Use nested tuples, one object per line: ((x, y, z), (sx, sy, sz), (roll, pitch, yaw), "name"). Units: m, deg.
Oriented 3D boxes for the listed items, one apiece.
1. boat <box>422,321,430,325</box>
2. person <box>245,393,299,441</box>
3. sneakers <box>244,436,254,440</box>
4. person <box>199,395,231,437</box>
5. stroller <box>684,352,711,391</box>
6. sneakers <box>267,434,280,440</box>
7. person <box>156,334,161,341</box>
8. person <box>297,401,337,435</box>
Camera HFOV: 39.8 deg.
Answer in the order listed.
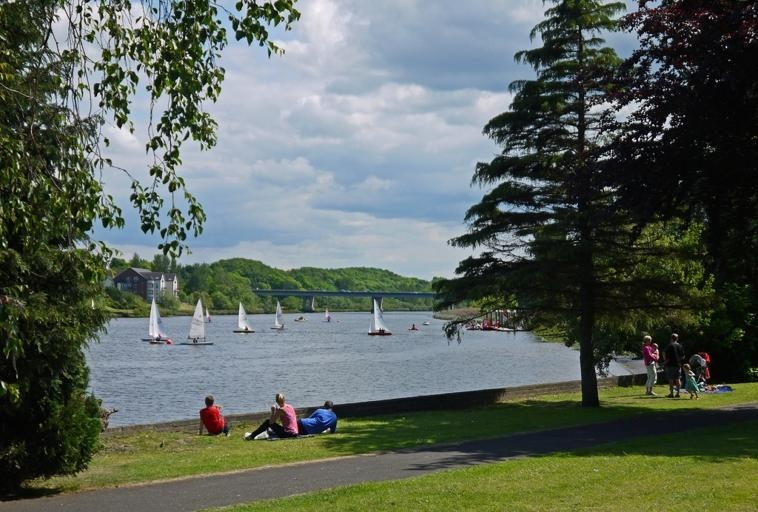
((8.246, 11.525, 181.621), (0.629, 0.859, 1.973), (0, -8, 40), "boat")
((-3.443, 5.206, 33.585), (1.741, 1.519, 0.850), (0, -8, 18), "person")
((-4.107, 5.695, 32.884), (0.231, 0.137, 0.297), (-1, -8, -9), "sneakers")
((-5.374, 5.152, 33.922), (0.991, 1.266, 0.821), (-6, -1, -36), "person")
((12.092, 4.212, 39.624), (0.960, 1.331, 0.876), (15, -12, 0), "stroller")
((-3.340, 5.698, 33.030), (0.300, 0.146, 0.125), (-1, 3, 1), "sneakers")
((-21.962, 8.035, 104.617), (0.328, 0.679, 0.716), (-5, -8, 25), "person")
((-2.009, 5.285, 33.860), (0.785, 0.700, 1.229), (31, -18, -19), "person")
